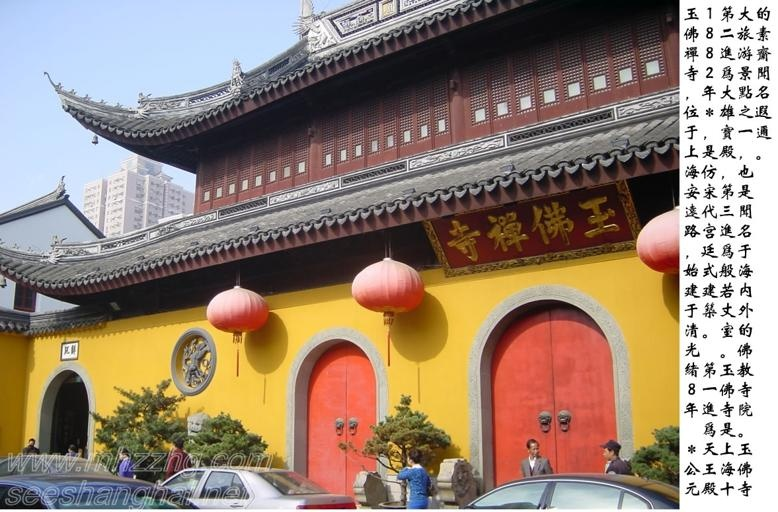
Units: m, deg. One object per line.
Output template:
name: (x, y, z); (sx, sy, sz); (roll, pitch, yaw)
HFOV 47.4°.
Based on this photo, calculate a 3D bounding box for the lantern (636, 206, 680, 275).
lantern: (4.001, -0.250, 13.278); (0.663, 0.869, 0.507); (-8, -20, 26)

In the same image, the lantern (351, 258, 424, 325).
lantern: (-0.009, 0.661, 14.917); (1.057, 1.178, 0.971); (2, -1, 13)

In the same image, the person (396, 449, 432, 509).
person: (0.435, 3.234, 12.808); (0.473, 0.942, 0.496); (0, -2, 38)

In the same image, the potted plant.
potted plant: (0.125, 3.428, 14.278); (2.392, 1.900, 1.502); (6, -6, -45)

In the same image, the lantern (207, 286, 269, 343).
lantern: (-2.689, 1.072, 16.338); (0.935, 0.927, 0.939); (-13, -20, 29)
